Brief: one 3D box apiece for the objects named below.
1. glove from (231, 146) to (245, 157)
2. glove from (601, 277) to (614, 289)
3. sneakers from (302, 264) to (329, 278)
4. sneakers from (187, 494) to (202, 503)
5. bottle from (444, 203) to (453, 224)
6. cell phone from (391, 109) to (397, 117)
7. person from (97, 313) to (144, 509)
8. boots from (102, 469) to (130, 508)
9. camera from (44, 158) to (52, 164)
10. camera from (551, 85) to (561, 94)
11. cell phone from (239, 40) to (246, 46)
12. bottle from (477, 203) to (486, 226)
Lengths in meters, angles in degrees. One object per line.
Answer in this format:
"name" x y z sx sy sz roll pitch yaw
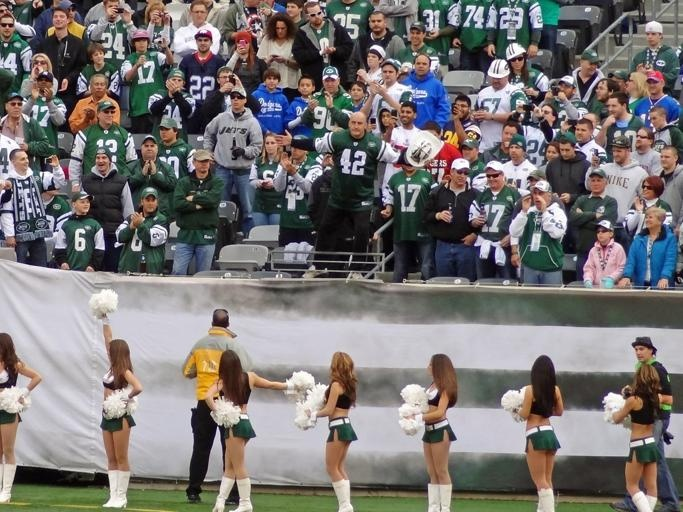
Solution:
"glove" -1.588 -1.585 26.194 0.204 0.187 0.155 -1 7 -18
"glove" 3.576 0.351 23.248 0.132 0.160 0.150 -1 14 6
"sneakers" -0.364 0.173 23.427 0.179 0.162 0.454 -5 -9 -38
"sneakers" -1.904 3.052 22.069 0.096 0.108 0.134 0 8 -12
"bottle" 1.518 -0.618 24.383 0.079 0.264 0.167 2 7 2
"cell phone" 0.773 -2.168 25.935 0.103 0.107 0.025 -1 8 -40
"person" -2.801 2.066 21.750 0.490 2.036 0.626 0 7 -8
"boots" -2.860 2.885 21.738 0.314 0.461 0.446 1 7 -8
"camera" -4.476 -1.467 26.189 0.084 0.075 0.090 7 1 14
"camera" 3.332 -2.613 27.001 0.193 0.090 0.285 2 25 10
"cell phone" -1.620 -3.419 27.607 0.077 0.022 0.082 -14 33 -18
"bottle" 1.984 -0.604 24.412 0.113 0.258 0.227 2 7 5
